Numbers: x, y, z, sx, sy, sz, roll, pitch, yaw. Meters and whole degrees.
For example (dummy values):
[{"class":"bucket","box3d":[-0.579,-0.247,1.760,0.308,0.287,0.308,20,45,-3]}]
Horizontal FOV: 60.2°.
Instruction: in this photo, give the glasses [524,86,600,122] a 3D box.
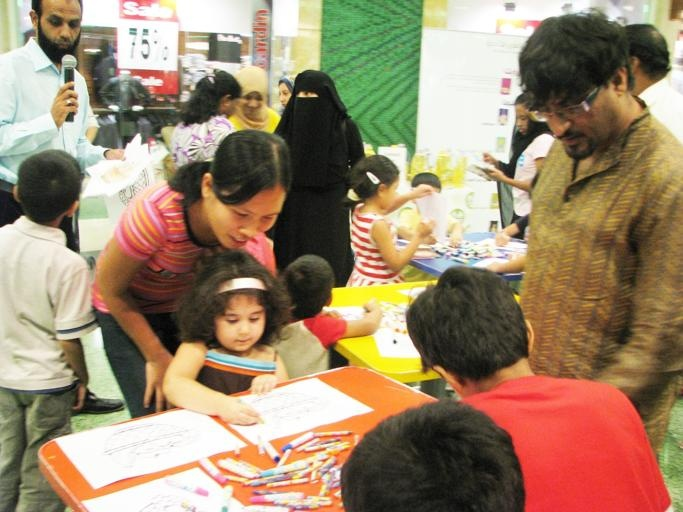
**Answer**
[{"class":"glasses","box3d":[0.667,-0.428,1.674,0.097,0.025,0.098,-40,20,-17]}]

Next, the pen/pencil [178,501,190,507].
[{"class":"pen/pencil","box3d":[-0.392,0.625,1.478,0.019,0.004,0.020,-3,12,-15]}]
